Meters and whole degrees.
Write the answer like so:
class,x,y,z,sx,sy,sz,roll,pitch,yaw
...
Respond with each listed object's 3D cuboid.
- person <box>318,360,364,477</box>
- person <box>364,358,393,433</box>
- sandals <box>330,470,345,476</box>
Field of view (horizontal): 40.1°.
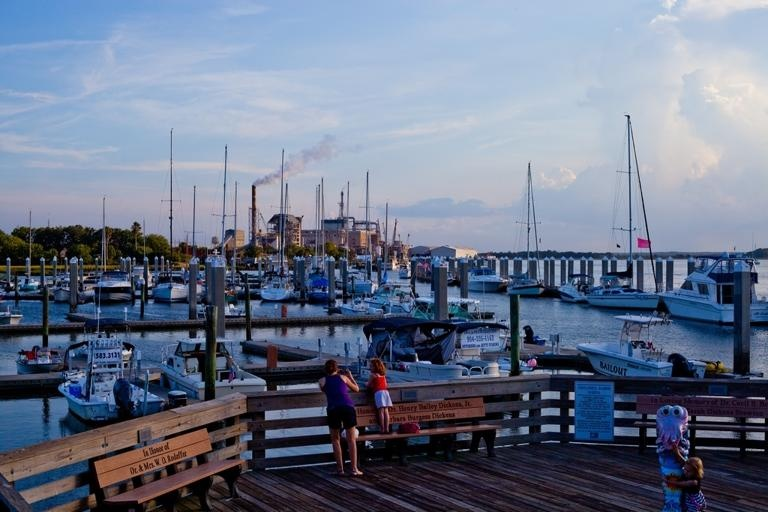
class,x,y,z,sx,sy,sz,roll,pitch,yaw
person,-1.053,3.802,24.634,0.965,2.690,0.574,0,-2,-9
person,-0.134,3.302,24.984,0.619,1.762,0.498,0,-2,-24
sandals,-1.135,5.088,24.692,0.339,0.116,0.116,3,-1,1
